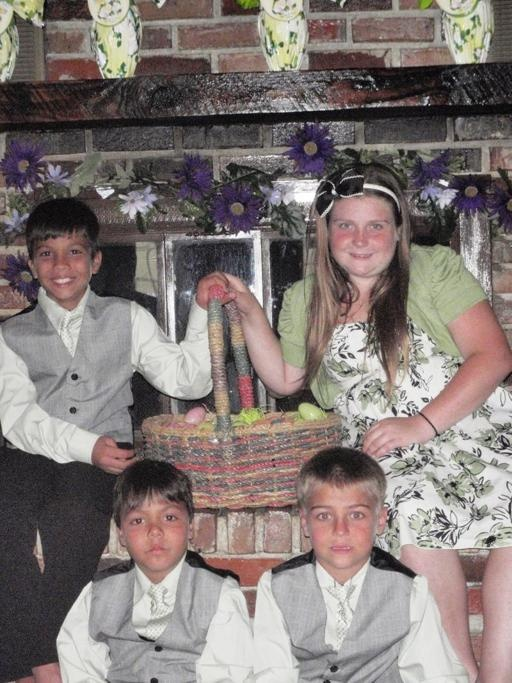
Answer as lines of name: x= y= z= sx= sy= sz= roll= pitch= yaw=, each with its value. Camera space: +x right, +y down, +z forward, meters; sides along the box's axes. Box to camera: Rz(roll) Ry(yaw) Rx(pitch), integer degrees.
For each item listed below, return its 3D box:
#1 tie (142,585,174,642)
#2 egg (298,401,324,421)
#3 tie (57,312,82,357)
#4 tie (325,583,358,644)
tie: x=-0.209 y=0.577 z=1.628 sx=0.085 sy=0.078 sz=0.025 roll=-20 pitch=-38 yaw=34
egg: x=0.141 y=0.183 z=2.014 sx=0.039 sy=0.032 sz=0.058 roll=-22 pitch=23 yaw=-41
tie: x=-0.504 y=-0.016 z=2.066 sx=0.090 sy=0.104 sz=0.033 roll=-17 pitch=-11 yaw=-12
tie: x=0.179 y=0.558 z=1.570 sx=0.069 sy=0.116 sz=0.066 roll=-2 pitch=4 yaw=6
